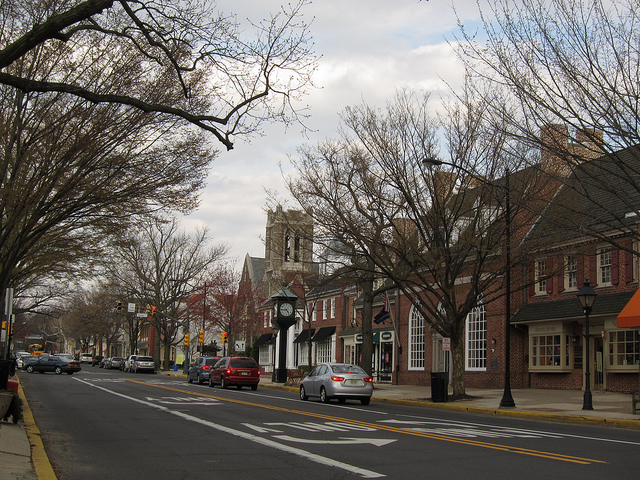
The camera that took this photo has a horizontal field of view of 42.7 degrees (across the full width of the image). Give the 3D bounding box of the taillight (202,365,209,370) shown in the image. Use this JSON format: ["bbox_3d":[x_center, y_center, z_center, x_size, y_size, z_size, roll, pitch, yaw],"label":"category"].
[{"bbox_3d":[-6.835,7.579,48.846,0.537,0.271,0.291,-14,-18,42],"label":"taillight"}]

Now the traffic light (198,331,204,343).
[{"bbox_3d":[-9.276,7.377,63.597,0.259,0.821,1.339,3,-14,-15],"label":"traffic light"}]

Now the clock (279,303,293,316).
[{"bbox_3d":[-2.235,4.478,53.174,0.910,0.863,0.219,6,-14,-25],"label":"clock"}]

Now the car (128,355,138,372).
[{"bbox_3d":[-17.137,11.045,74.709,0.850,0.820,1.538,1,-3,-9],"label":"car"}]

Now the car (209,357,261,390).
[{"bbox_3d":[-4.807,7.239,44.970,1.357,1.112,2.992,3,-6,-19],"label":"car"}]

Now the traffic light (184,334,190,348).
[{"bbox_3d":[-10.638,7.859,64.904,0.310,0.772,0.984,3,-14,-18],"label":"traffic light"}]

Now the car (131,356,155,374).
[{"bbox_3d":[-15.707,10.928,72.473,1.835,1.517,2.671,4,-15,-19],"label":"car"}]

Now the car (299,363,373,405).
[{"bbox_3d":[0.614,5.940,33.943,1.527,1.789,3.141,9,-17,-35],"label":"car"}]

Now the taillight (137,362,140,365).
[{"bbox_3d":[-15.860,10.736,71.265,0.190,0.219,0.194,-2,-7,22],"label":"taillight"}]

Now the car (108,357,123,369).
[{"bbox_3d":[-21.221,12.740,84.830,0.940,0.847,1.757,2,-1,-15],"label":"car"}]

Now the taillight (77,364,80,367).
[{"bbox_3d":[-18.416,9.493,62.179,0.060,0.220,0.153,-16,-12,34],"label":"taillight"}]

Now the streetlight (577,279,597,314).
[{"bbox_3d":[10.232,2.169,31.451,0.795,1.341,0.742,-1,-3,32],"label":"streetlight"}]

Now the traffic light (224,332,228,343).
[{"bbox_3d":[-7.562,7.670,64.682,0.252,0.767,1.260,3,-14,-15],"label":"traffic light"}]

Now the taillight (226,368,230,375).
[{"bbox_3d":[-4.959,7.004,43.858,0.159,0.318,0.165,2,-2,-24],"label":"taillight"}]

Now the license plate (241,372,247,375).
[{"bbox_3d":[-4.068,7.113,43.775,0.267,0.104,0.060,1,-13,-6],"label":"license plate"}]
